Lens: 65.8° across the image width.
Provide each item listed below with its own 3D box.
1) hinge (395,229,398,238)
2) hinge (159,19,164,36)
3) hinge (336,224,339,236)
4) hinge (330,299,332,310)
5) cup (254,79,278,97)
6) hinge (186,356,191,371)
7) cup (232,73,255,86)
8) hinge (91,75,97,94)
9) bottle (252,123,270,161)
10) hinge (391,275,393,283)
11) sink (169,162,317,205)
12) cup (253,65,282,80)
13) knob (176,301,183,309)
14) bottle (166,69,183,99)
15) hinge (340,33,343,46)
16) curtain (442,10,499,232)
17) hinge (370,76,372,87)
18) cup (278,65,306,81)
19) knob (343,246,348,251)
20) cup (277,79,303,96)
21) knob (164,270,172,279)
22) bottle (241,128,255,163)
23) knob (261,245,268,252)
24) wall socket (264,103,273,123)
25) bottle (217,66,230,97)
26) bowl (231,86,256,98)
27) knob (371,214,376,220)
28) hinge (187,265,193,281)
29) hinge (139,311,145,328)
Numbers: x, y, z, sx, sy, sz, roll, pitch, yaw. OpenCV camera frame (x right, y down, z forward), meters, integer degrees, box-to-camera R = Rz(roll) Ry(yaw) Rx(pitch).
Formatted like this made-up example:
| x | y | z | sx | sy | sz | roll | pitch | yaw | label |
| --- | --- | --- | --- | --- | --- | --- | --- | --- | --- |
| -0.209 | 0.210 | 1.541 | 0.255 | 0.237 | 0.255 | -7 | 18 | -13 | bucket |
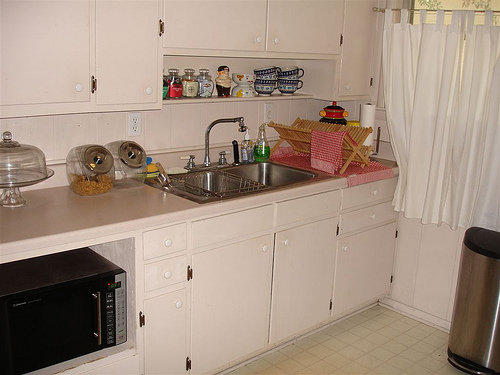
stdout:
| x | y | z | sx | sy | sz | roll | pitch | yaw | label |
| --- | --- | --- | --- | --- | --- | --- | --- | --- | --- |
| 1.165 | 0.369 | 3.076 | 0.011 | 0.046 | 0.048 | 1 | 4 | 15 | hinge |
| -0.479 | -0.858 | 2.076 | 0.030 | 0.081 | 0.006 | -14 | 21 | -36 | hinge |
| 0.591 | 0.290 | 2.619 | 0.021 | 0.075 | 0.006 | -10 | 19 | -25 | hinge |
| 0.569 | 0.828 | 2.729 | 0.015 | 0.075 | 0.004 | -15 | 22 | -37 | hinge |
| 0.111 | -0.719 | 2.767 | 0.139 | 0.110 | 0.114 | 8 | 23 | 12 | cup |
| -0.337 | 0.958 | 2.102 | 0.032 | 0.090 | 0.004 | -12 | 20 | -31 | hinge |
| -0.042 | -0.755 | 2.718 | 0.164 | 0.081 | 0.096 | -4 | 17 | -9 | cup |
| -0.784 | -0.517 | 1.935 | 0.033 | 0.085 | 0.008 | -11 | 19 | -28 | hinge |
| 0.080 | -0.324 | 2.802 | 0.097 | 0.257 | 0.105 | -1 | 17 | 0 | bottle |
| 1.159 | 0.756 | 3.168 | 0.005 | 0.062 | 0.031 | 10 | 20 | 32 | hinge |
| -0.127 | -0.042 | 2.902 | 0.575 | 0.261 | 0.978 | -9 | 3 | 8 | sink |
| 0.131 | -0.827 | 2.814 | 0.169 | 0.120 | 0.132 | -3 | 18 | -6 | cup |
| -0.367 | 0.605 | 1.989 | 0.008 | 0.033 | 0.031 | 21 | 42 | 41 | knob |
| -0.481 | -0.650 | 2.435 | 0.092 | 0.141 | 0.087 | -1 | 13 | 0 | bottle |
| 0.668 | -1.083 | 2.832 | 0.005 | 0.067 | 0.026 | 15 | 24 | 43 | hinge |
| 1.523 | -0.406 | 2.530 | 0.338 | 1.421 | 0.187 | 7 | 19 | 25 | curtain |
| 0.968 | -0.842 | 3.105 | 0.015 | 0.061 | 0.007 | -2 | 17 | -3 | hinge |
| 0.314 | -0.848 | 2.942 | 0.186 | 0.133 | 0.145 | -1 | 15 | -4 | cup |
| 0.663 | 0.426 | 2.689 | 0.048 | 0.048 | 0.012 | -17 | 23 | -41 | knob |
| 0.310 | -0.760 | 2.969 | 0.168 | 0.125 | 0.137 | 3 | 17 | -1 | cup |
| -0.412 | 0.440 | 1.941 | 0.015 | 0.046 | 0.043 | 14 | 23 | 40 | knob |
| -0.019 | -0.279 | 2.762 | 0.099 | 0.203 | 0.106 | -1 | 17 | 0 | bottle |
| 0.081 | 0.355 | 2.256 | 0.037 | 0.037 | 0.020 | -11 | 19 | -44 | knob |
| 0.144 | -0.582 | 3.007 | 0.095 | 0.150 | 0.018 | -17 | 23 | -41 | wall socket |
| -0.181 | -0.712 | 2.611 | 0.089 | 0.194 | 0.060 | -3 | 17 | -6 | bottle |
| -0.050 | -0.668 | 2.697 | 0.166 | 0.071 | 0.129 | -2 | 17 | -3 | bowl |
| 0.897 | 0.217 | 2.817 | 0.029 | 0.042 | 0.010 | 3 | -1 | -18 | knob |
| -0.314 | 0.445 | 2.008 | 0.035 | 0.080 | 0.013 | -7 | 18 | -16 | hinge |
| -0.533 | 0.648 | 1.901 | 0.025 | 0.077 | 0.013 | -7 | 18 | -19 | hinge |
